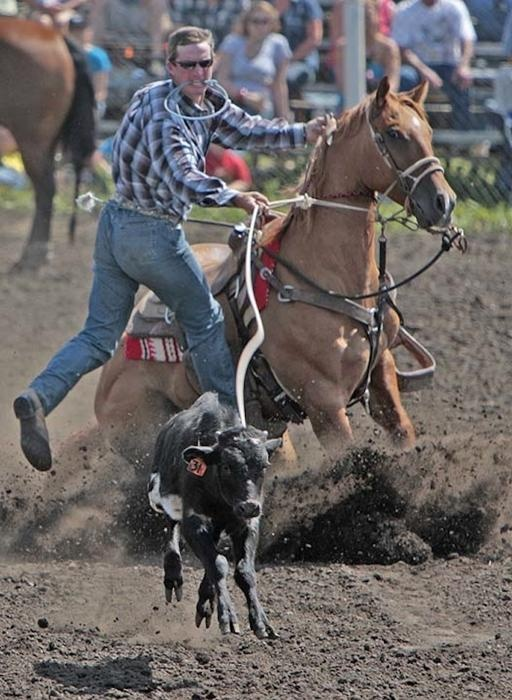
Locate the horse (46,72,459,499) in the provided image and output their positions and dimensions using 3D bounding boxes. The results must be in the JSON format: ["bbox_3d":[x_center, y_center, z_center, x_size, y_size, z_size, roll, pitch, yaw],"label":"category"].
[{"bbox_3d":[0.144,-0.133,4.495,0.720,1.661,2.427,-12,1,-39],"label":"horse"}]

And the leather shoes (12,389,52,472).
[{"bbox_3d":[-0.850,0.298,3.628,0.124,0.327,0.148,-18,10,-23],"label":"leather shoes"}]

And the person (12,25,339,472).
[{"bbox_3d":[-0.375,-0.405,3.808,0.894,1.707,0.948,1,8,15],"label":"person"}]

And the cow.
[{"bbox_3d":[-0.123,0.658,3.239,0.376,0.894,0.857,-3,8,-15],"label":"cow"}]

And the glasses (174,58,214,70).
[{"bbox_3d":[-0.230,-1.073,3.535,0.142,0.052,0.063,-2,7,-12],"label":"glasses"}]

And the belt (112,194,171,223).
[{"bbox_3d":[-0.447,-0.538,3.633,0.258,0.103,0.076,3,9,31],"label":"belt"}]
